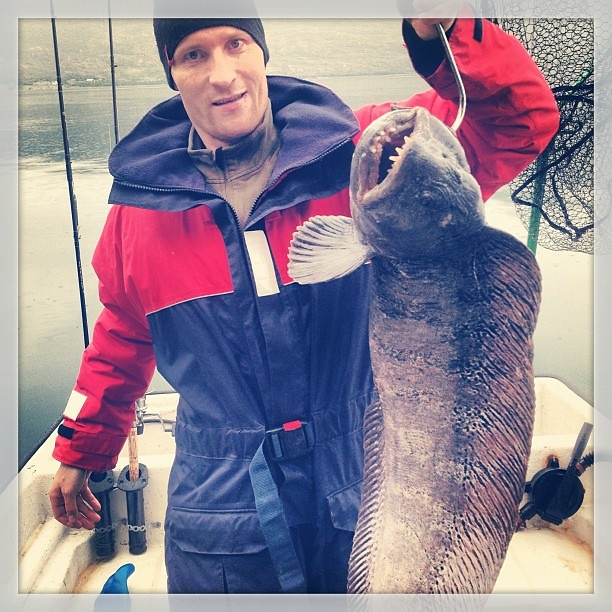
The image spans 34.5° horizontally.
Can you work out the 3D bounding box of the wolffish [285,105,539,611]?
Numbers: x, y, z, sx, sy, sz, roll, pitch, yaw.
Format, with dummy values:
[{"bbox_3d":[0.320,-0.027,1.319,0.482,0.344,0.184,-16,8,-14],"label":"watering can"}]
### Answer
[{"bbox_3d":[0.280,0.157,2.520,0.552,1.282,0.305,3,11,29],"label":"wolffish"}]
